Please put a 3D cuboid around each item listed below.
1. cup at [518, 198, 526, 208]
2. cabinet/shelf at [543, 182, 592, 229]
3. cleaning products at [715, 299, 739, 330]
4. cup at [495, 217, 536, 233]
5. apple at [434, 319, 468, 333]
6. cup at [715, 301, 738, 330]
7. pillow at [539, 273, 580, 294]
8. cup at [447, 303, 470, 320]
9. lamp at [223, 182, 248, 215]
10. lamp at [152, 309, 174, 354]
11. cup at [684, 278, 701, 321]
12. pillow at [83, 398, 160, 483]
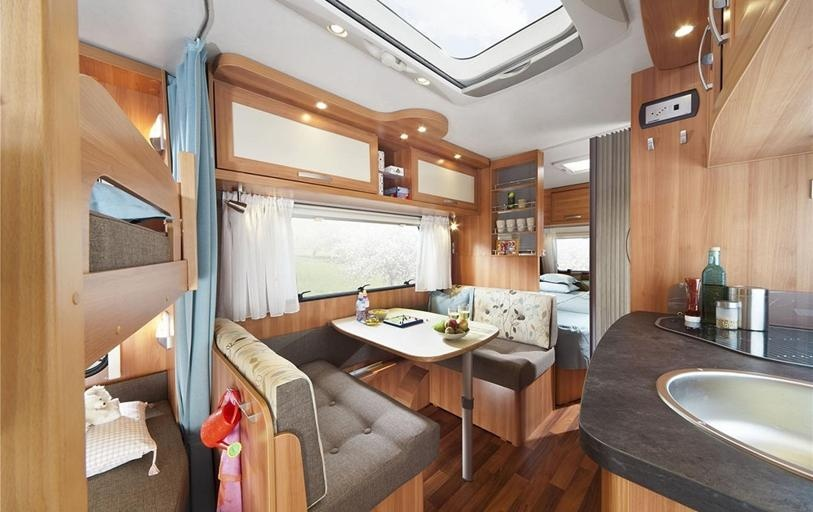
[{"bbox_3d":[1.019,-0.471,4.398,0.074,0.073,0.072,-3,0,0],"label":"cup"},{"bbox_3d":[2.003,-0.587,6.016,0.644,0.438,0.352,-4,-10,39],"label":"cabinet/shelf"},{"bbox_3d":[1.560,0.288,2.488,0.119,0.130,0.124,1,-4,10],"label":"cleaning products"},{"bbox_3d":[0.978,-0.277,4.425,0.069,0.126,0.398,-3,0,-45],"label":"cup"},{"bbox_3d":[0.296,0.465,3.290,0.125,0.043,0.125,-1,1,-34],"label":"apple"},{"bbox_3d":[1.561,0.281,2.423,0.113,0.125,0.121,1,-4,0],"label":"cup"},{"bbox_3d":[1.842,0.324,6.066,0.423,0.126,0.381,1,6,31],"label":"pillow"},{"bbox_3d":[0.454,0.431,4.057,0.209,0.147,0.180,-1,0,25],"label":"cup"},{"bbox_3d":[-1.083,-0.364,3.189,0.135,0.186,0.119,-3,0,-16],"label":"lamp"},{"bbox_3d":[-1.329,0.418,2.841,0.092,0.235,0.089,-5,6,37],"label":"lamp"},{"bbox_3d":[1.465,0.206,2.553,0.071,0.171,0.151,-2,0,30],"label":"cup"},{"bbox_3d":[-1.452,0.947,2.550,0.347,0.095,0.358,-4,42,-44],"label":"pillow"}]
